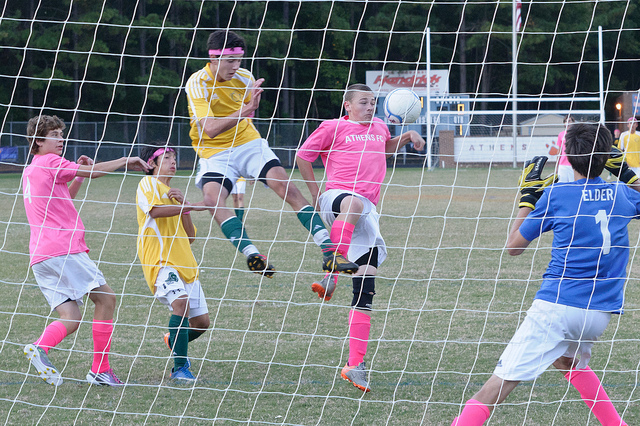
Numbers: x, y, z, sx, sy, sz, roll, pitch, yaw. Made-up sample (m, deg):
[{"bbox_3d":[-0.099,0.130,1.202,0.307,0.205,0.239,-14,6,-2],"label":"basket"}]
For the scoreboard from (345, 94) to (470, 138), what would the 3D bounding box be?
[{"bbox_3d":[3.713,-3.556,33.697,0.161,1.586,3.985,-32,25,-36],"label":"scoreboard"}]

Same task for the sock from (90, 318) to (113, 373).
[{"bbox_3d":[-2.704,1.638,11.837,0.239,0.641,0.225,3,4,-11],"label":"sock"}]

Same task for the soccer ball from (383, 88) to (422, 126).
[{"bbox_3d":[1.090,-1.440,12.727,0.487,0.449,0.453,-23,12,5],"label":"soccer ball"}]

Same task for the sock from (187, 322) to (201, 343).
[{"bbox_3d":[-1.581,1.499,12.101,0.153,0.278,0.368,4,4,1],"label":"sock"}]

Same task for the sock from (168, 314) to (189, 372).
[{"bbox_3d":[-1.704,1.626,11.967,0.253,0.754,0.339,-6,-3,14],"label":"sock"}]

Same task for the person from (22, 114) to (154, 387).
[{"bbox_3d":[-3.149,0.451,11.882,1.471,3.310,0.918,5,4,22],"label":"person"}]

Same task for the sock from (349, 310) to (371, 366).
[{"bbox_3d":[0.472,1.547,11.831,0.242,0.664,0.280,4,4,2],"label":"sock"}]

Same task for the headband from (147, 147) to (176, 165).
[{"bbox_3d":[-1.991,-0.722,11.990,0.319,0.232,0.139,2,4,-14],"label":"headband"}]
